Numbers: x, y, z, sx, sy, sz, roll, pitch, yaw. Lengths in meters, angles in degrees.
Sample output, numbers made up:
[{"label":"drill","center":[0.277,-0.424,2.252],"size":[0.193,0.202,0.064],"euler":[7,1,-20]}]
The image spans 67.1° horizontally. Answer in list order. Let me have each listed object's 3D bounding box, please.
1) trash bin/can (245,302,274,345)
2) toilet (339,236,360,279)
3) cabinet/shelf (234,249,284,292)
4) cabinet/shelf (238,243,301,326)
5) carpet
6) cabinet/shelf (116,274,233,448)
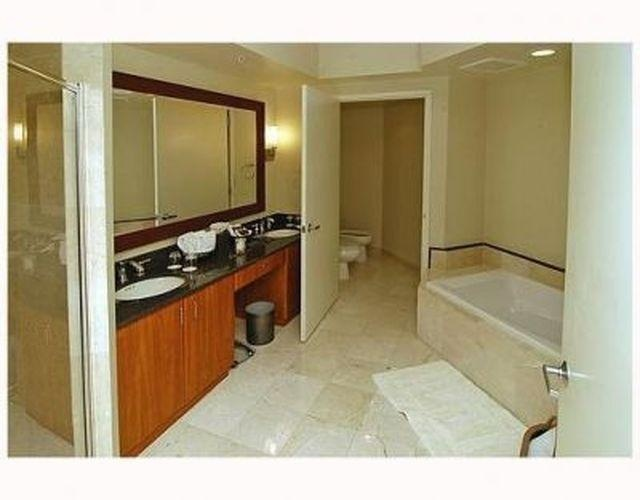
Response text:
[{"label":"trash bin/can","center":[-0.438,0.529,3.490],"size":[0.201,0.247,0.232],"euler":[-2,14,-9]},{"label":"toilet","center":[0.244,0.111,5.239],"size":[0.303,0.362,0.379],"euler":[4,11,-3]},{"label":"cabinet/shelf","center":[-0.363,0.131,3.307],"size":[0.525,0.111,0.101],"euler":[-24,-21,31]},{"label":"cabinet/shelf","center":[-0.415,0.273,4.040],"size":[0.505,0.652,0.709],"euler":[1,1,-2]},{"label":"carpet","center":[0.566,0.708,2.191],"size":[0.408,0.076,0.735],"euler":[-17,16,-13]},{"label":"cabinet/shelf","center":[-0.750,0.562,2.417],"size":[0.391,0.516,0.705],"euler":[3,13,13]}]
